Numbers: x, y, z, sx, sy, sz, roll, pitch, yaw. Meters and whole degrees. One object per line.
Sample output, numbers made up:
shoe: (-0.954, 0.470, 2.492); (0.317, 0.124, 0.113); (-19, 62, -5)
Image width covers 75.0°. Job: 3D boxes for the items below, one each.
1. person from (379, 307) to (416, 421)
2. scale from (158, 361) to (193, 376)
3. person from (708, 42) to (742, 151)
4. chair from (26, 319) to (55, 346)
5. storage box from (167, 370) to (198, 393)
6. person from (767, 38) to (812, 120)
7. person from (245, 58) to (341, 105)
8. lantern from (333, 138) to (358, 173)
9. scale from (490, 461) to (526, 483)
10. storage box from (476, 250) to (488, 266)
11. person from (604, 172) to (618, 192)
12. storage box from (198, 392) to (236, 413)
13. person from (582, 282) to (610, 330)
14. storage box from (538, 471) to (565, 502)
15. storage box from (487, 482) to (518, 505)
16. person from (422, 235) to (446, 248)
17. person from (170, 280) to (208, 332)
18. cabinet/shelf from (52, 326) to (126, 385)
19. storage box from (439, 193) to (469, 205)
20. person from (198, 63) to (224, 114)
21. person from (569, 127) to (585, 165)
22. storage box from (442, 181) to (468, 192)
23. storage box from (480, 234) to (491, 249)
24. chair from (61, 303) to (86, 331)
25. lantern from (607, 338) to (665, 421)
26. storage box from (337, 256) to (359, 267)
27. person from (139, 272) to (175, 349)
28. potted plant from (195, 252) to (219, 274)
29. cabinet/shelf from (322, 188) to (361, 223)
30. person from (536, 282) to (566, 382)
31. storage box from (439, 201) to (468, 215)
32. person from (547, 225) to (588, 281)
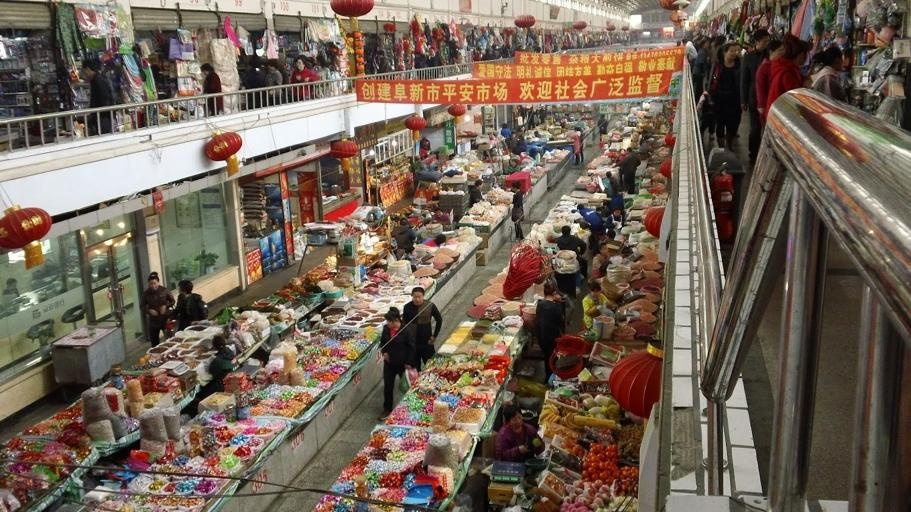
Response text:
person: (-0.780, 1.448, 8.268); (0.483, 1.524, 0.719); (-3, 23, -6)
scale: (-3.553, 1.429, 7.579); (0.211, 0.044, 0.196); (10, 23, 1)
person: (3.712, -2.187, 8.110); (0.422, 1.344, 1.404); (8, 24, 20)
chair: (-5.985, 1.105, 8.653); (0.338, 0.252, 0.299); (6, 18, -2)
storage box: (-3.428, 1.587, 7.526); (0.264, 0.139, 0.246); (0, 20, 11)
person: (2.616, -1.441, 4.651); (0.266, 0.526, 0.771); (11, 25, 25)
person: (-3.325, -3.493, 11.827); (1.202, 0.879, 2.760); (5, 22, 12)
lantern: (-2.425, -2.272, 13.082); (0.495, 0.696, 1.482); (-5, 22, -10)
scale: (0.539, 2.109, 5.814); (0.211, 0.044, 0.204); (3, 11, 25)
storage box: (0.640, 0.017, 13.898); (0.351, 0.304, 0.321); (7, 26, 16)
person: (4.344, -2.024, 16.515); (0.355, 0.471, 0.982); (5, 23, 14)
storage box: (-2.833, 1.755, 7.128); (0.297, 0.095, 0.217); (4, 16, 18)
person: (2.030, 0.709, 8.438); (0.304, 0.799, 0.338); (20, 70, 24)
storage box: (0.913, 2.106, 5.485); (0.244, 0.114, 0.274); (5, 22, 14)
storage box: (0.471, 2.240, 5.741); (0.228, 0.128, 0.292); (1, 2, 4)
person: (-0.403, -0.329, 13.248); (0.421, 0.160, 0.903); (1, 22, 5)
person: (-4.087, 0.777, 9.135); (0.479, 0.887, 0.492); (-9, 24, -18)
cabinet/shelf: (-5.295, 1.444, 8.556); (0.525, 0.478, 0.843); (2, 14, 3)
storage box: (-0.049, -1.530, 15.822); (0.671, 0.352, 0.318); (-2, 23, -5)
person: (-4.157, -2.860, 10.258); (0.320, 0.883, 1.210); (-10, 24, -20)
person: (4.711, -4.106, 22.848); (0.469, 1.106, 1.144); (3, 23, 9)
storage box: (0.020, -1.942, 16.592); (0.751, 0.201, 0.477); (-1, 22, -1)
storage box: (0.712, -0.364, 13.994); (0.421, 0.348, 0.278); (0, 2, -1)
chair: (-5.799, 0.917, 9.100); (0.344, 0.312, 0.321); (7, 19, 28)
lantern: (1.298, 0.875, 4.240); (0.322, 0.317, 0.433); (9, 24, 21)
storage box: (-1.953, 0.100, 10.928); (0.249, 0.135, 0.234); (3, 7, 4)
person: (-4.527, 0.831, 9.146); (0.431, 1.117, 0.596); (-12, 26, -25)
potted plant: (-4.815, 0.108, 11.652); (0.383, 0.384, 0.415); (12, 16, 14)
cabinet/shelf: (-2.944, -1.299, 15.267); (0.433, 0.356, 1.162); (5, 29, 22)
person: (1.381, 1.108, 8.626); (0.431, 1.287, 1.040); (2, 23, 8)
storage box: (-0.026, -1.274, 15.797); (0.456, 0.243, 0.420); (1, 9, 9)
person: (2.286, -0.037, 11.632); (0.476, 1.392, 1.074); (9, 25, 22)
